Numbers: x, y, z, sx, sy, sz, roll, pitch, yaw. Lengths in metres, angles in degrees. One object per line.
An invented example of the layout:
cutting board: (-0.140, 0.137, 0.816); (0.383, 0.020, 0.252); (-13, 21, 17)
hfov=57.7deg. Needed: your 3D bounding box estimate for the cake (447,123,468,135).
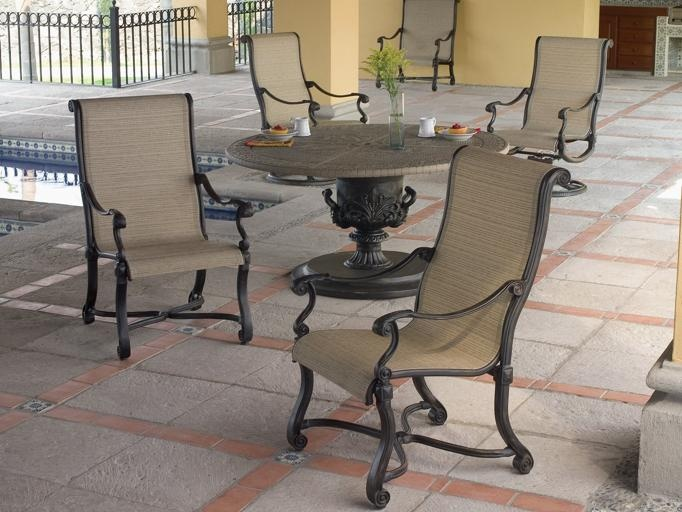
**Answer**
cake: (0.799, -0.857, 4.219); (0.163, 0.059, 0.138); (-10, 18, -30)
